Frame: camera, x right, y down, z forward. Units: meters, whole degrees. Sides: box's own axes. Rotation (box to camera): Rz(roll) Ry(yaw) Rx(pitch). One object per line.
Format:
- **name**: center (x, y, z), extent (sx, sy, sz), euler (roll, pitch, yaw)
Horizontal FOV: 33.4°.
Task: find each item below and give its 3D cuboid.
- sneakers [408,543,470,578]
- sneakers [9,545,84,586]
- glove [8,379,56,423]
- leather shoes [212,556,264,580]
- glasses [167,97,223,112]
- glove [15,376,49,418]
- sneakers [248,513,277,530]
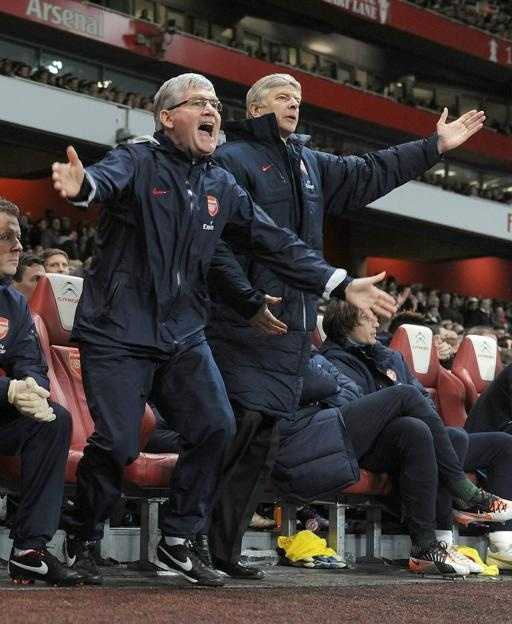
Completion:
- **sneakers**: center (0.789, 0.992, 3.416), extent (0.334, 0.130, 0.100), euler (-5, -19, 25)
- **sneakers**: center (-0.616, 0.816, 2.757), extent (0.326, 0.124, 0.092), euler (2, -5, 2)
- **glove**: center (-0.733, 0.283, 2.773), extent (0.178, 0.107, 0.085), euler (23, 31, 34)
- **leather shoes**: center (-0.061, 0.941, 3.159), extent (0.252, 0.073, 0.072), euler (0, -6, 9)
- **glasses**: center (-0.223, -0.724, 2.966), extent (0.082, 0.018, 0.077), euler (-16, -15, 35)
- **glove**: center (-0.742, 0.271, 2.747), extent (0.114, 0.114, 0.072), euler (-5, -19, -39)
- **sneakers**: center (0.039, 1.059, 4.376), extent (0.133, 0.083, 0.246), euler (4, -4, 2)
